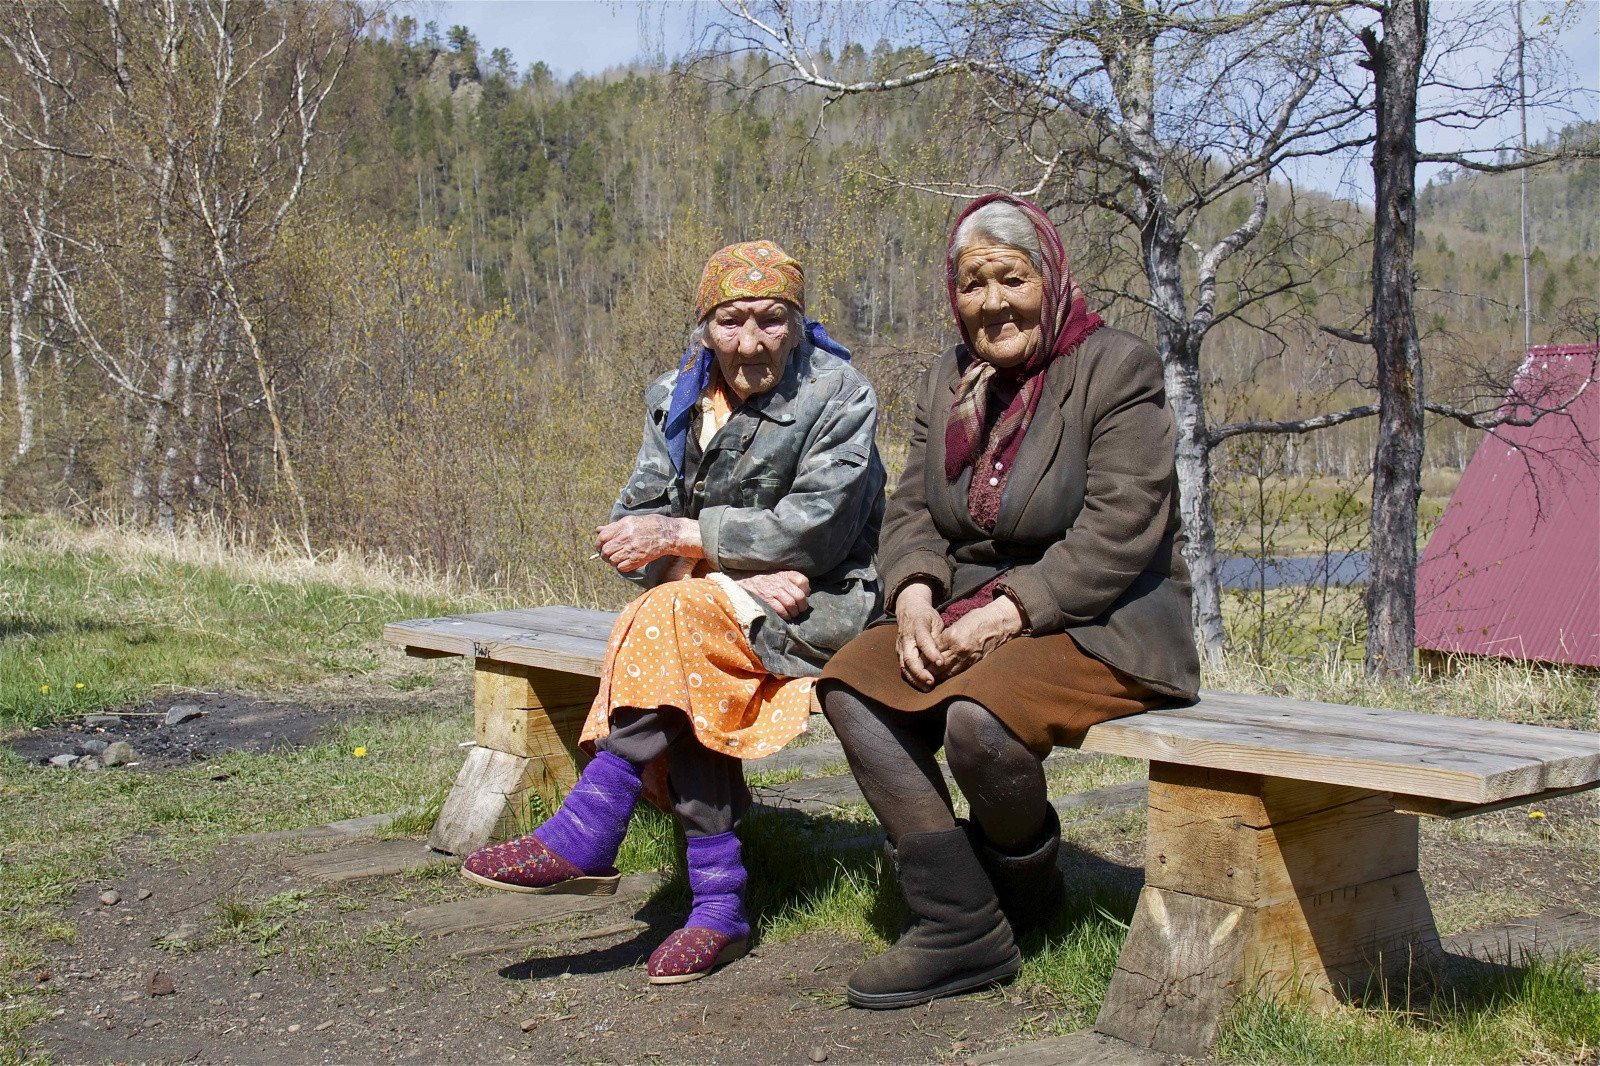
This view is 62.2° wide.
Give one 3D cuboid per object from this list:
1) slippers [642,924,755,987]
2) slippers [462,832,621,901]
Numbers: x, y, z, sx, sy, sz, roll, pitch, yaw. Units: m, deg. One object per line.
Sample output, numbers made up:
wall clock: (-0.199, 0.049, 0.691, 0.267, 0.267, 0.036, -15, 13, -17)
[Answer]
slippers: (-0.398, 1.616, 5.159, 0.348, 0.131, 0.172, 1, -4, -37)
slippers: (-1.009, 1.265, 5.107, 0.538, 0.224, 0.235, 8, -9, -14)
